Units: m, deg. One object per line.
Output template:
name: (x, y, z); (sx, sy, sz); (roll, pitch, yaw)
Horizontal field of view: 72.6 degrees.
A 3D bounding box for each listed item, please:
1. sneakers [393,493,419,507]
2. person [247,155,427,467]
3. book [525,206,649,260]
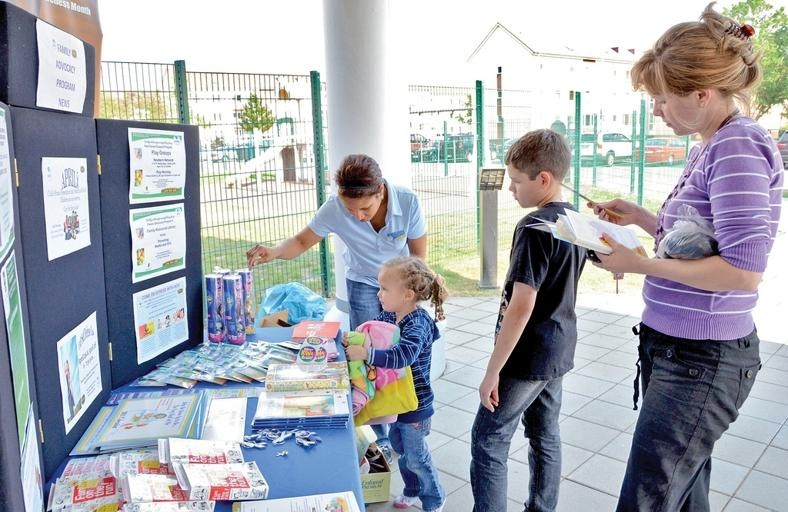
sneakers: (0.079, 1.476, 3.275); (0.130, 0.056, 0.072); (6, 1, -3)
person: (-0.329, 0.357, 3.525); (1.211, 1.908, 0.743); (-9, 11, -17)
book: (0.859, -0.093, 2.292); (0.295, 0.067, 0.278); (14, 18, -24)
